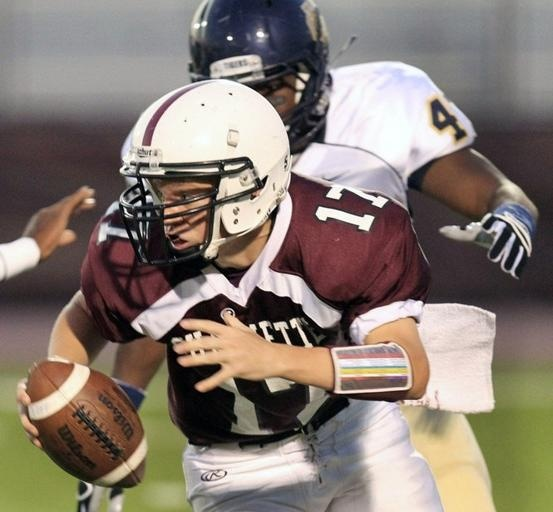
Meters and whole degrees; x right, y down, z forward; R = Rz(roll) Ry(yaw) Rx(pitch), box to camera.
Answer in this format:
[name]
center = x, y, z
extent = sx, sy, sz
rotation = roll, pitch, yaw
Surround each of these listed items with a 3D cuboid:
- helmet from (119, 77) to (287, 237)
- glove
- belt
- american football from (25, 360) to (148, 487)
[helmet]
center = -0.180, -0.297, 2.126
extent = 0.368, 0.295, 0.443
rotation = 14, 22, 33
[glove]
center = 0.697, -0.061, 2.537
extent = 0.235, 0.265, 0.457
rotation = 10, 33, 21
[belt]
center = 0.022, 0.436, 2.301
extent = 0.293, 0.081, 0.192
rotation = -18, 13, 6
[american football]
center = -0.516, 0.464, 2.142
extent = 0.276, 0.371, 0.257
rotation = -39, 6, -26
